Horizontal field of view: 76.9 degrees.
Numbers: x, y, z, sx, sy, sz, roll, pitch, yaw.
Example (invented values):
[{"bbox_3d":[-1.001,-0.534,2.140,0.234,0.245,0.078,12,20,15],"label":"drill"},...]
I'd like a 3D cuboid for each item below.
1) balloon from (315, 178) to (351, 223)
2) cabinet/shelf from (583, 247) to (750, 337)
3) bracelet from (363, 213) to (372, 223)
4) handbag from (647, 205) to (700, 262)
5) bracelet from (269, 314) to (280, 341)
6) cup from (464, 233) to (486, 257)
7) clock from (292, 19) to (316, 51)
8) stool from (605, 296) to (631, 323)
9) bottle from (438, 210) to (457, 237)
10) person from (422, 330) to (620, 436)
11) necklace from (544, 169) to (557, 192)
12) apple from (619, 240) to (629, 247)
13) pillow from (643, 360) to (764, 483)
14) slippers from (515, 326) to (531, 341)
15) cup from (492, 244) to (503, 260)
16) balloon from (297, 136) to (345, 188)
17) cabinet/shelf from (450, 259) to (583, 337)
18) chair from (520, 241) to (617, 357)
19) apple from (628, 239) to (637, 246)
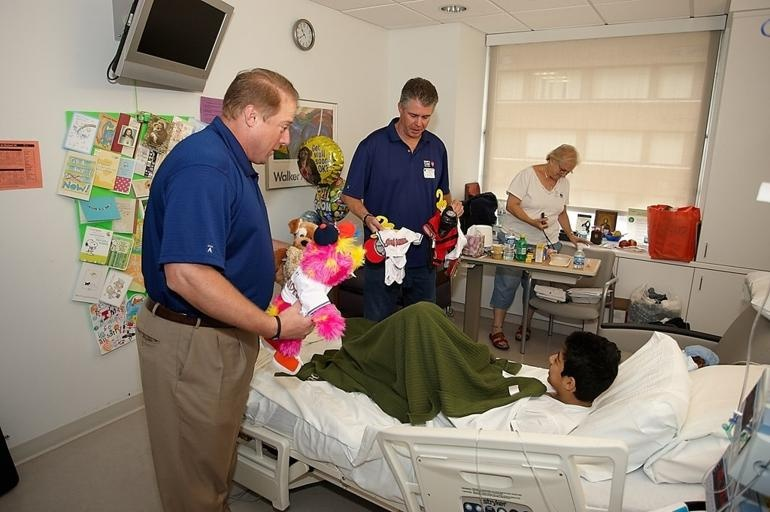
[{"bbox_3d":[-0.492,-0.415,4.157,0.271,0.319,0.266,-10,29,-10],"label":"balloon"},{"bbox_3d":[2.622,0.329,4.420,0.764,0.662,0.277,2,7,26],"label":"cabinet/shelf"},{"bbox_3d":[-0.126,-0.271,3.464,0.056,0.064,0.080,4,9,-9],"label":"bracelet"},{"bbox_3d":[2.833,-0.255,4.701,0.419,0.533,0.333,11,33,39],"label":"handbag"},{"bbox_3d":[-0.501,0.340,2.224,0.032,0.086,0.071,-1,9,-11],"label":"bracelet"},{"bbox_3d":[0.840,-0.108,4.605,0.201,0.210,0.190,3,7,0],"label":"cup"},{"bbox_3d":[-0.755,-2.064,4.510,0.042,0.273,0.269,10,10,34],"label":"clock"},{"bbox_3d":[2.286,0.524,4.727,0.178,0.200,0.367,7,-22,18],"label":"stool"},{"bbox_3d":[0.458,-0.246,3.552,0.128,0.174,0.172,11,7,3],"label":"bottle"},{"bbox_3d":[0.816,0.747,2.600,0.757,0.337,0.609,-7,14,20],"label":"person"},{"bbox_3d":[1.614,-0.724,4.661,0.124,0.176,0.134,6,9,7],"label":"necklace"},{"bbox_3d":[2.497,-0.130,5.023,0.065,0.072,0.063,-1,1,10],"label":"apple"},{"bbox_3d":[1.591,0.852,2.465,0.306,0.476,0.649,12,11,39],"label":"pillow"},{"bbox_3d":[1.448,0.812,5.063,0.112,0.077,0.317,-1,1,15],"label":"slippers"},{"bbox_3d":[1.054,-0.037,4.489,0.107,0.118,0.141,7,9,13],"label":"cup"},{"bbox_3d":[-0.490,-0.759,4.003,0.350,0.406,0.219,-24,1,14],"label":"balloon"},{"bbox_3d":[1.313,0.367,4.736,0.976,0.763,0.858,7,11,29],"label":"cabinet/shelf"},{"bbox_3d":[1.889,0.417,4.711,0.652,0.902,0.687,-18,22,-33],"label":"chair"},{"bbox_3d":[2.616,-0.141,5.074,0.079,0.071,0.162,10,10,27],"label":"apple"}]
